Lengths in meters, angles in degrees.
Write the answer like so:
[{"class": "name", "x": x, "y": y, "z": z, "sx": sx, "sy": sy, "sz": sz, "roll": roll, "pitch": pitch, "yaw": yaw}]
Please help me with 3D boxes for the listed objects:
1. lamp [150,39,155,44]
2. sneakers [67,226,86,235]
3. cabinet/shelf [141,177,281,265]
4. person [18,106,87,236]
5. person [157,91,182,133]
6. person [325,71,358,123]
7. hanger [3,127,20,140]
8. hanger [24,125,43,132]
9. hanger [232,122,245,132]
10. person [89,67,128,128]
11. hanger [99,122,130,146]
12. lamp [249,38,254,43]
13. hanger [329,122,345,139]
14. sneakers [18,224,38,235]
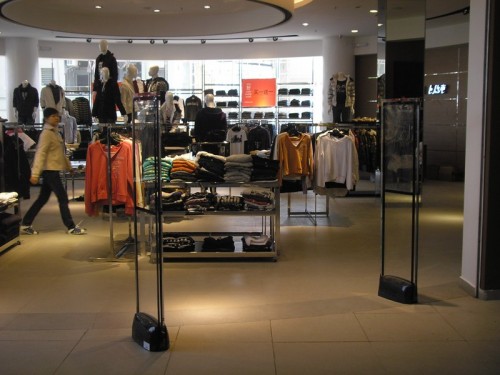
[{"class": "lamp", "x": -3.005, "y": -4.510, "z": 12.591, "sx": 0.195, "sy": 0.102, "sz": 0.280, "roll": 2, "pitch": 14, "yaw": -6}, {"class": "sneakers", "x": -2.650, "y": 0.662, "z": 6.339, "sx": 0.310, "sy": 0.155, "sz": 0.127, "roll": -1, "pitch": 4, "yaw": -5}, {"class": "cabinet/shelf", "x": -0.510, "y": 0.256, "z": 5.828, "sx": 1.664, "sy": 0.942, "sz": 1.272, "roll": 7, "pitch": -9, "yaw": -17}, {"class": "person", "x": -2.997, "y": -0.246, "z": 6.219, "sx": 0.806, "sy": 1.906, "sz": 0.820, "roll": -5, "pitch": 8, "yaw": -31}, {"class": "person", "x": -1.407, "y": -1.361, "z": 7.318, "sx": 0.350, "sy": 0.700, "sz": 1.587, "roll": -2, "pitch": 8, "yaw": -11}, {"class": "person", "x": 2.636, "y": -2.601, "z": 11.799, "sx": 0.758, "sy": 1.396, "sz": 0.528, "roll": 1, "pitch": 7, "yaw": 11}, {"class": "hanger", "x": -4.758, "y": -1.084, "z": 8.181, "sx": 0.343, "sy": 0.126, "sz": 0.352, "roll": 1, "pitch": 16, "yaw": -12}, {"class": "hanger", "x": -4.945, "y": -1.339, "z": 9.309, "sx": 0.336, "sy": 0.188, "sz": 0.463, "roll": -3, "pitch": 5, "yaw": -34}, {"class": "hanger", "x": -0.243, "y": -1.203, "z": 8.269, "sx": 0.302, "sy": 0.143, "sz": 0.414, "roll": -1, "pitch": 5, "yaw": -2}, {"class": "person", "x": -2.569, "y": -1.691, "z": 7.450, "sx": 0.620, "sy": 0.996, "sz": 0.346, "roll": -2, "pitch": 7, "yaw": -13}, {"class": "hanger", "x": -1.757, "y": -0.658, "z": 5.241, "sx": 0.394, "sy": 0.259, "sz": 0.585, "roll": 1, "pitch": 6, "yaw": 5}, {"class": "lamp", "x": 0.055, "y": -4.644, "z": 12.854, "sx": 0.087, "sy": 0.108, "sz": 0.097, "roll": 3, "pitch": -7, "yaw": -6}, {"class": "hanger", "x": 1.435, "y": -0.938, "z": 6.769, "sx": 0.225, "sy": 0.144, "sz": 0.348, "roll": 1, "pitch": 10, "yaw": 6}, {"class": "sneakers", "x": -3.445, "y": 0.656, "z": 6.286, "sx": 0.331, "sy": 0.156, "sz": 0.117, "roll": 1, "pitch": 5, "yaw": -9}]
